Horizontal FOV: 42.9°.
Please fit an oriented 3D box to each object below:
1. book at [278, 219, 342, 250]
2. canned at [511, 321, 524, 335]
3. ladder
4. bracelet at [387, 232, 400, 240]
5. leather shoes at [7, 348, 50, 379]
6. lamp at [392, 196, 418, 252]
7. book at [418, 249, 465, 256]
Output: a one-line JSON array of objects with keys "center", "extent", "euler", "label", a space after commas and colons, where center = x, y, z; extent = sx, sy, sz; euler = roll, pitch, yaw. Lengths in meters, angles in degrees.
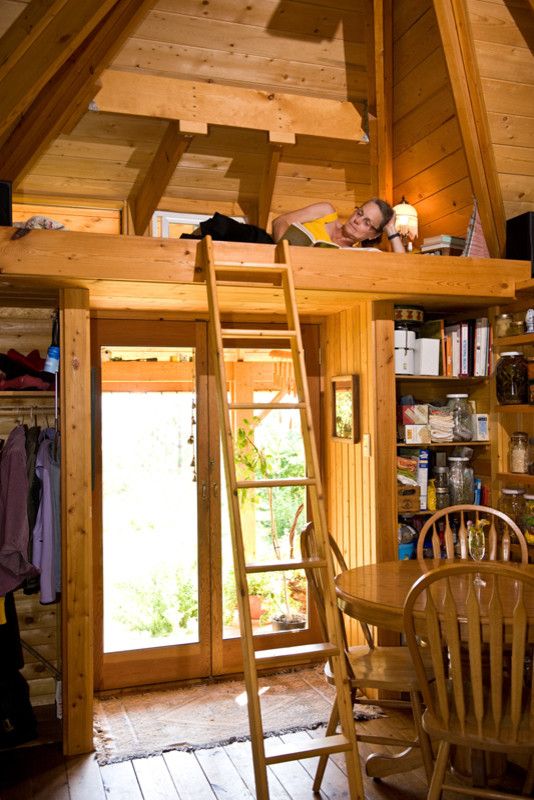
[{"center": [0.177, -0.775, 3.121], "extent": [0.240, 0.087, 0.228], "euler": [4, -9, -22], "label": "book"}, {"center": [1.238, -0.363, 3.391], "extent": [0.063, 0.065, 0.063], "euler": [-1, 2, 0], "label": "canned"}, {"center": [0.045, 0.425, 2.814], "extent": [0.612, 2.094, 1.456], "euler": [-1, -3, -6], "label": "ladder"}, {"center": [0.623, -0.811, 3.362], "extent": [0.041, 0.016, 0.042], "euler": [-6, 6, 31], "label": "bracelet"}, {"center": [-1.106, -0.160, 3.174], "extent": [0.172, 0.171, 0.056], "euler": [13, -42, -23], "label": "leather shoes"}, {"center": [0.741, -0.969, 3.693], "extent": [0.151, 0.258, 0.157], "euler": [6, 13, 35], "label": "lamp"}, {"center": [0.867, -0.727, 3.348], "extent": [0.105, 0.024, 0.102], "euler": [-2, 4, -25], "label": "book"}]
